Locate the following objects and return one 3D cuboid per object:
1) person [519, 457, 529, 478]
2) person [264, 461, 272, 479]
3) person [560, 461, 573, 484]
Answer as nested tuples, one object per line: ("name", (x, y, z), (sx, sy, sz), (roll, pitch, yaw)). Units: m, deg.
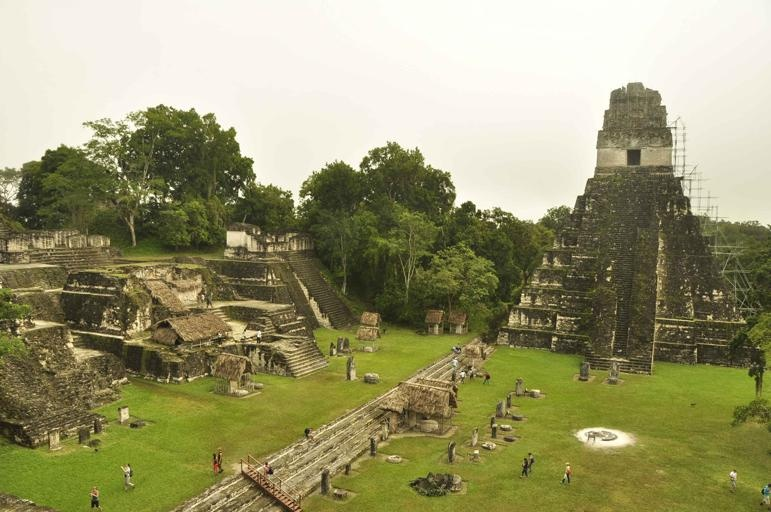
("person", (7.153, 10.800, 32.031), (0.416, 0.846, 0.844), (3, 8, 13))
("person", (-5.825, 10.713, 31.404), (0.416, 0.610, 1.007), (0, 7, -12))
("person", (9.225, 11.130, 31.910), (0.401, 0.847, 0.606), (-11, 14, -23))
